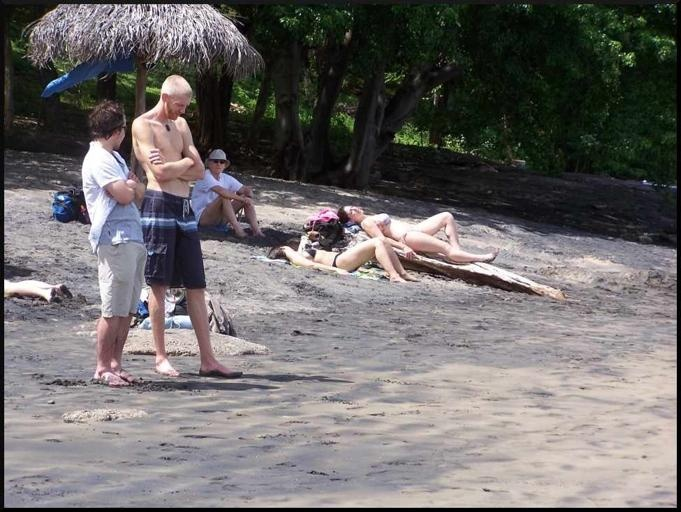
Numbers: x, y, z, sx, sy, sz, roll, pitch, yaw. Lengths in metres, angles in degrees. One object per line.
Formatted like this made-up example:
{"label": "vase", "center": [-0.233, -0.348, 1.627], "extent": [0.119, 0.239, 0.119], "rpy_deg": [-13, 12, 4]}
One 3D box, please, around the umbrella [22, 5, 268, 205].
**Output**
{"label": "umbrella", "center": [-3.082, -3.230, 13.815], "extent": [3.553, 2.443, 3.208], "rpy_deg": [-1, 1, -3]}

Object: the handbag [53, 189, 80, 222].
{"label": "handbag", "center": [-4.046, -0.715, 12.511], "extent": [0.372, 0.529, 0.463], "rpy_deg": [4, 12, -16]}

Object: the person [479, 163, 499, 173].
{"label": "person", "center": [5.456, -3.191, 30.706], "extent": [0.673, 0.226, 1.162], "rpy_deg": [8, 11, 9]}

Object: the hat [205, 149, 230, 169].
{"label": "hat", "center": [-1.991, -1.638, 13.865], "extent": [0.487, 0.268, 0.589], "rpy_deg": [3, -11, -10]}

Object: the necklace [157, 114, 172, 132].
{"label": "necklace", "center": [-1.562, -1.183, 7.553], "extent": [0.100, 0.118, 0.042], "rpy_deg": [-34, 7, -40]}

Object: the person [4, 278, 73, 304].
{"label": "person", "center": [-3.445, 0.389, 9.596], "extent": [0.810, 0.233, 0.260], "rpy_deg": [6, 11, -3]}

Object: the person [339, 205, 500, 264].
{"label": "person", "center": [1.165, -0.342, 13.468], "extent": [2.713, 0.847, 0.954], "rpy_deg": [1, 10, 5]}

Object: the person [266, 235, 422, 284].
{"label": "person", "center": [0.027, 0.076, 13.040], "extent": [2.354, 0.609, 1.099], "rpy_deg": [-1, 5, 14]}
